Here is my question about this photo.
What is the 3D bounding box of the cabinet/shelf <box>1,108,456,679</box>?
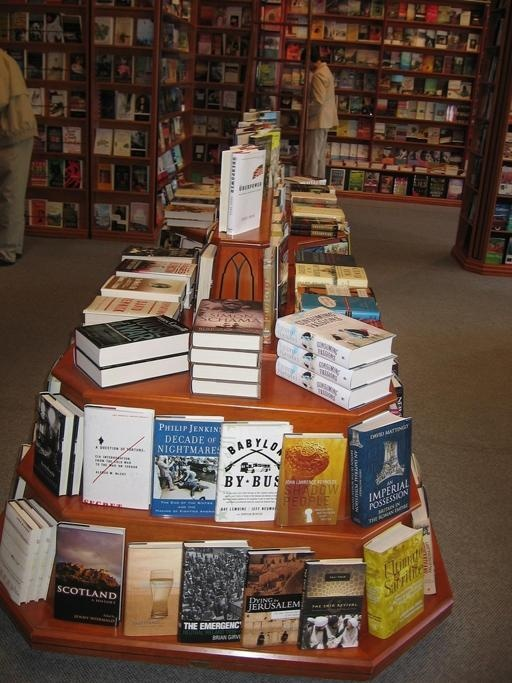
[{"bbox_3d":[-0.138,0.195,1.638,1.069,0.457,1.038,1,27,-1],"label":"cabinet/shelf"}]
